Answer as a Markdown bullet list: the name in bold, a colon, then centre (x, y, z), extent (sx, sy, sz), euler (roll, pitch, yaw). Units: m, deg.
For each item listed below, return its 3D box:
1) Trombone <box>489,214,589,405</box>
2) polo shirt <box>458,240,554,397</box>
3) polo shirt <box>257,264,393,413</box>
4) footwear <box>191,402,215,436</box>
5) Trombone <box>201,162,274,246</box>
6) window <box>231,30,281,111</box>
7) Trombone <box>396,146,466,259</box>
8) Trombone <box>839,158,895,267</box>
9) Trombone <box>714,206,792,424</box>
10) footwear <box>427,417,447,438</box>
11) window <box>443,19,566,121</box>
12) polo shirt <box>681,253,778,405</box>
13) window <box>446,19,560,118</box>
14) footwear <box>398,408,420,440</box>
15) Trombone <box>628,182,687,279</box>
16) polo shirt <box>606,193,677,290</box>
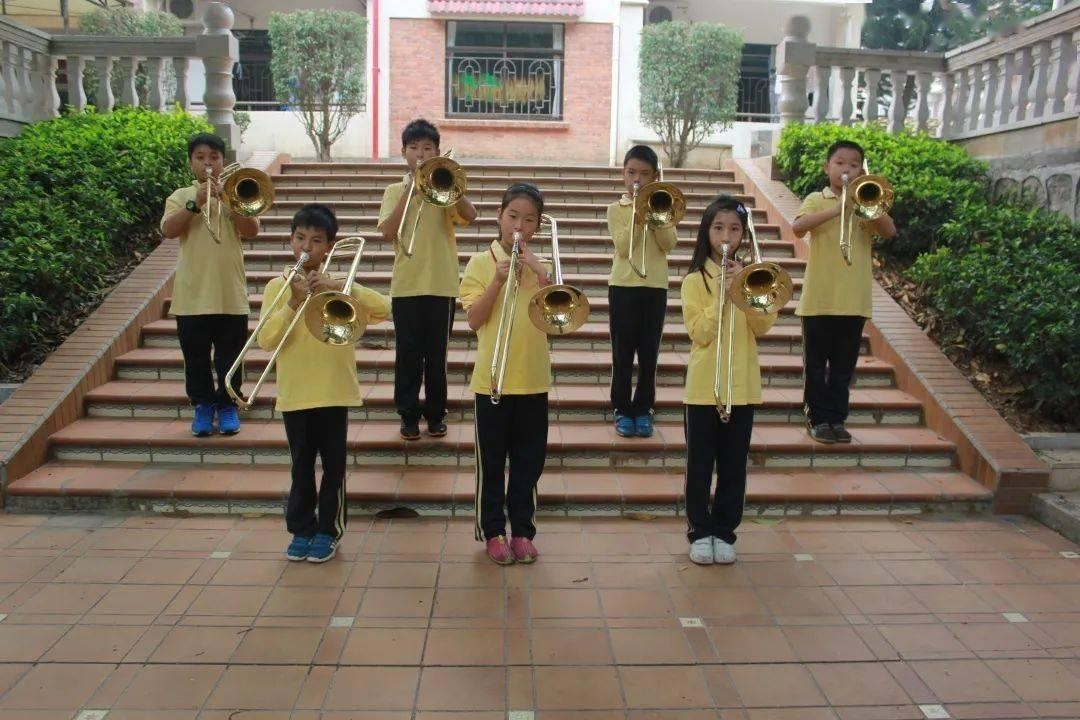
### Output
- **Trombone**: centre (-0.031, -0.307, 5.378), extent (0.645, 1.189, 0.549), euler (-2, 16, -4)
- **polo shirt**: centre (-0.217, -0.375, 5.600), extent (0.449, 0.451, 1.246), euler (3, 51, -1)
- **polo shirt**: centre (-1.520, -0.082, 5.741), extent (0.778, 0.948, 0.987), euler (-5, -12, 18)
- **footwear**: centre (-2.811, 0.511, 6.616), extent (0.123, 0.136, 0.355), euler (0, 13, -23)
- **Trombone**: centre (-2.426, -1.382, 6.484), extent (0.440, 0.355, 0.761), euler (-5, 18, -22)
- **window**: centre (-6.294, -6.316, 17.586), extent (1.071, 1.414, 1.140), euler (18, 26, 39)
- **Trombone**: centre (-0.868, -1.192, 6.224), extent (0.531, 0.776, 0.406), euler (-4, 16, -10)
- **Trombone**: centre (2.639, -1.187, 6.495), extent (0.374, 0.819, 0.457), euler (4, 17, 18)
- **Trombone**: centre (1.383, -0.320, 5.493), extent (0.559, 1.406, 0.563), euler (-6, 17, -15)
- **footwear**: centre (-0.859, 0.545, 6.633), extent (0.088, 0.103, 0.235), euler (1, -26, -8)
- **window**: centre (-0.714, -5.732, 15.949), extent (2.479, 1.838, 0.078), euler (7, 21, 14)
- **polo shirt**: centre (1.301, -0.140, 5.555), extent (0.439, 0.488, 1.216), euler (1, 59, 9)
- **window**: centre (-0.699, -5.736, 15.968), extent (2.539, 1.870, 0.054), euler (-9, 26, -25)
- **footwear**: centre (-1.087, 0.530, 6.595), extent (0.120, 0.132, 0.322), euler (0, 8, -5)
- **Trombone**: centre (0.905, -1.045, 6.426), extent (0.425, 0.772, 0.499), euler (-2, 16, -4)
- **polo shirt**: centre (0.774, -0.915, 6.690), extent (0.458, 0.846, 0.494), euler (12, 4, 30)
